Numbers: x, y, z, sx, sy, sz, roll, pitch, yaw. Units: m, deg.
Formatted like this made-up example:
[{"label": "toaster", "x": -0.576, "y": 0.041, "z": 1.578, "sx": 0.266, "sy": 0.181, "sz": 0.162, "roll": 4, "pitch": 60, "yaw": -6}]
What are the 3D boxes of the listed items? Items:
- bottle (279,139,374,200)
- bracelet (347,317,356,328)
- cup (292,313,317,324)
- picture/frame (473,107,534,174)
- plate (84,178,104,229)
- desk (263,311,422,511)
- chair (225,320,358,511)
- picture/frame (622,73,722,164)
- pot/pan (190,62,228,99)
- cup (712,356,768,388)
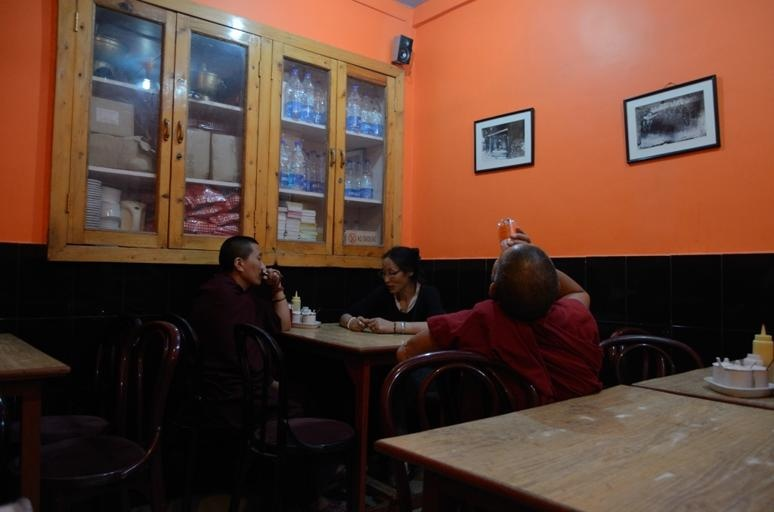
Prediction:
[{"label": "bottle", "x": -0.474, "y": -0.639, "z": 4.118, "sx": 0.463, "sy": 0.228, "sz": 0.132, "roll": 8, "pitch": -15, "yaw": -34}, {"label": "bracelet", "x": -0.238, "y": 0.445, "z": 3.691, "sx": 0.025, "sy": 0.065, "sz": 0.057, "roll": 17, "pitch": 21, "yaw": -9}, {"label": "cup", "x": -0.552, "y": 0.408, "z": 3.695, "sx": 0.123, "sy": 0.049, "sz": 0.077, "roll": 2, "pitch": 2, "yaw": 28}, {"label": "picture/frame", "x": 0.852, "y": -0.819, "z": 3.980, "sx": 0.508, "sy": 0.434, "sz": 0.039, "roll": -2, "pitch": -4, "yaw": 43}, {"label": "plate", "x": -1.734, "y": -0.314, "z": 3.306, "sx": 0.057, "sy": 0.280, "sz": 0.115, "roll": 2, "pitch": 9, "yaw": 12}, {"label": "desk", "x": -0.257, "y": 0.627, "z": 3.440, "sx": 0.824, "sy": 0.972, "sz": 1.267, "roll": -1, "pitch": 1, "yaw": -33}, {"label": "chair", "x": -0.481, "y": 0.836, "z": 2.842, "sx": 0.643, "sy": 1.049, "sz": 0.464, "roll": 3, "pitch": 9, "yaw": 14}, {"label": "picture/frame", "x": 1.667, "y": -0.793, "z": 3.217, "sx": 0.538, "sy": 0.461, "sz": 0.058, "roll": -5, "pitch": -8, "yaw": 42}, {"label": "pot/pan", "x": -1.164, "y": -1.118, "z": 3.650, "sx": 0.206, "sy": 0.215, "sz": 0.169, "roll": 7, "pitch": -14, "yaw": -26}, {"label": "cup", "x": 1.418, "y": 0.444, "z": 2.236, "sx": 0.134, "sy": 0.091, "sz": 0.146, "roll": 1, "pitch": -4, "yaw": 0}]
